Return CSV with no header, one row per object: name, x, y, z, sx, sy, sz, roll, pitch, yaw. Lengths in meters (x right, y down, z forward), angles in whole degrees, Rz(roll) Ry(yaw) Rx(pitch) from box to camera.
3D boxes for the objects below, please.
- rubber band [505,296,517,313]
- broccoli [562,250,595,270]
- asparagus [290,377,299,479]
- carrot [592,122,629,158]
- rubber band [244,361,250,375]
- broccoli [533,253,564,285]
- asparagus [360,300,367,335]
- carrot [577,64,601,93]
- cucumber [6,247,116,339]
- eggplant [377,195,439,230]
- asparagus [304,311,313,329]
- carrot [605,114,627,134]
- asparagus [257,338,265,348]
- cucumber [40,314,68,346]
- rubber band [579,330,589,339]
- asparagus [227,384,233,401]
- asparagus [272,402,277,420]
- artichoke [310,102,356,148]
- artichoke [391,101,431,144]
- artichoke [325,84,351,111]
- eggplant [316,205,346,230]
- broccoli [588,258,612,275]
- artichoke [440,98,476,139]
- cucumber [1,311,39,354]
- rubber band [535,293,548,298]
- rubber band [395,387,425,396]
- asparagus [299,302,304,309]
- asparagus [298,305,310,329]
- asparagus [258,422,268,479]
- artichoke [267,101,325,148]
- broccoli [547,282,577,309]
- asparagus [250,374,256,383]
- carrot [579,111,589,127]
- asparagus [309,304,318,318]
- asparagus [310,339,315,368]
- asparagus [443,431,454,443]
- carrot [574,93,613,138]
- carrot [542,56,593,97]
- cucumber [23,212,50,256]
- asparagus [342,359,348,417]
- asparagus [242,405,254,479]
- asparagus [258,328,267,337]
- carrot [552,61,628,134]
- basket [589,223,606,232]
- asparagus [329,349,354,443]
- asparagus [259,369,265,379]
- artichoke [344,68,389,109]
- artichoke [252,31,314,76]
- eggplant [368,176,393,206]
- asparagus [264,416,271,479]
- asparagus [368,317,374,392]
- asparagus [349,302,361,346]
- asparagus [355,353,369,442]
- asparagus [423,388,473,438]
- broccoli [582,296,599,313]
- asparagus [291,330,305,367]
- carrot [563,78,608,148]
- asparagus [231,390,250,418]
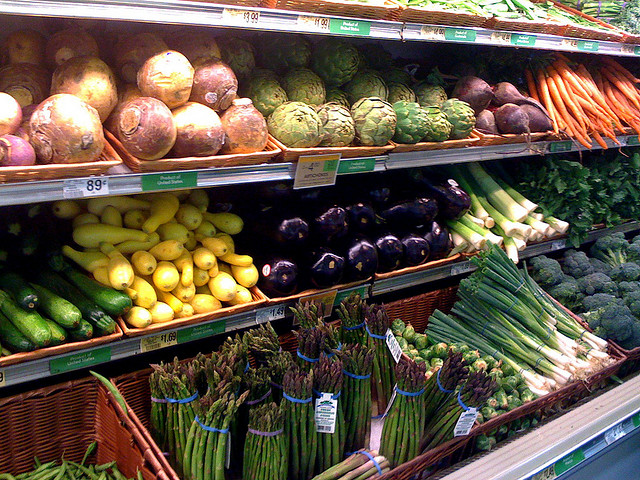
rubber band,1.191,0.396,2.769,0.020,0.075,0.080,37,49,7
broccoli,2.060,0.178,3.474,0.178,0.065,0.179,7,17,0
asparagus,-0.108,0.799,1.861,0.049,0.367,0.033,-2,9,-15
carrot,2.393,-0.835,3.647,0.070,0.405,0.042,-29,27,42
rubber band,-0.336,0.585,2.016,0.013,0.051,0.012,26,25,4
broccoli,1.716,0.233,3.300,0.216,0.079,0.215,-25,45,-5
asparagus,0.215,0.382,2.237,0.031,0.142,0.031,3,-4,-13
carrot,2.238,-1.343,3.698,0.062,0.293,0.052,-32,-2,-39
cucumber,-1.144,0.244,1.940,0.540,0.133,0.118,31,44,23
eggplant,0.548,-0.179,2.858,0.397,0.179,0.180,-11,23,-14
asparagus,-0.054,0.375,2.093,0.024,0.088,0.021,-9,23,7
carrot,2.376,-0.933,3.555,0.038,0.036,0.247,-26,55,2
asparagus,-0.268,0.469,2.022,0.014,0.049,0.016,-34,4,-4
cucumber,-1.125,0.386,1.881,0.146,0.052,0.068,19,35,34
rubber band,1.748,0.625,2.928,0.014,0.045,0.047,21,-9,-7
asparagus,-0.360,0.611,1.773,0.011,0.049,0.015,14,-31,-13
asparagus,-0.177,0.669,1.734,0.015,0.055,0.027,-3,15,-1
artichoke,0.061,-0.602,2.359,0.187,0.200,0.234,9,38,-9
artichoke,0.516,-0.669,2.510,0.218,0.238,0.187,1,16,14
artichoke,0.082,-0.829,2.549,0.102,0.101,0.182,2,35,-51
eggplant,0.067,-0.119,2.506,0.148,0.108,0.115,-39,-29,1
broccoli,2.201,0.211,3.517,0.167,0.102,0.052,39,-18,10
artichoke,0.861,-0.735,2.760,0.205,0.223,0.244,3,1,34
cucumber,-1.219,0.382,1.793,0.176,0.054,0.048,43,27,8
rubber band,1.475,0.370,2.957,0.083,0.013,0.017,-23,-2,-39
rubber band,0.399,0.672,1.961,0.118,0.034,0.032,-3,15,-1
asparagus,-0.089,0.317,2.147,0.012,0.044,0.013,-26,-6,-26
asparagus,-0.077,0.372,2.105,0.027,0.145,0.028,-26,14,-30
asparagus,-0.224,0.850,1.770,0.026,0.251,0.027,7,5,23
artichoke,-0.115,-0.586,2.290,0.222,0.210,0.266,-9,18,10
broccoli,1.793,0.404,3.233,0.193,0.161,0.073,25,-5,43
asparagus,-0.286,0.592,1.894,0.021,0.034,0.009,0,-10,0
carrot,2.005,-0.937,3.373,0.042,0.152,0.031,4,-22,-31
asparagus,-0.025,0.339,2.128,0.018,0.086,0.022,6,34,43
asparagus,-0.034,0.507,1.972,0.027,0.136,0.023,-5,15,-6
asparagus,0.613,0.935,2.109,0.003,0.063,0.017,-6,49,-52
carrot,2.106,-0.957,3.426,0.048,0.467,0.107,-39,-12,-16
carrot,1.942,-1.284,3.503,0.091,0.089,0.625,27,23,-54
cucumber,-1.343,-0.032,2.080,0.055,0.054,0.203,30,46,-11
asparagus,0.116,0.677,2.005,0.027,0.240,0.026,5,4,7
asparagus,-0.293,0.833,1.792,0.046,0.342,0.039,7,13,13
asparagus,-0.274,0.427,2.066,0.016,0.060,0.018,-39,-21,-5
carrot,2.142,-1.114,3.520,0.066,1.002,0.109,-33,-16,-26
basket,2.339,-0.104,3.718,0.156,0.050,0.106,1,0,-24
asparagus,0.112,0.724,2.050,0.073,0.449,0.035,-2,16,-5
asparagus,-0.249,0.575,1.902,0.024,0.034,0.022,-5,15,-8
artichoke,0.312,-0.879,2.678,0.194,0.226,0.247,26,10,18
artichoke,-0.201,-1.037,2.471,0.337,0.185,0.197,4,23,21
eggplant,0.366,-0.318,2.818,0.149,0.154,0.197,-9,16,4
asparagus,-0.202,0.818,1.756,0.031,0.245,0.025,-3,6,-20
asparagus,0.255,0.574,2.238,0.037,0.351,0.036,1,0,-22
asparagus,0.191,0.429,2.242,0.029,0.245,0.035,-20,24,-21
asparagus,0.193,0.724,2.013,0.068,0.458,0.019,-2,15,3
asparagus,0.611,0.817,2.099,0.051,0.352,0.051,37,9,-6
broccoli,1.894,0.450,3.093,0.043,0.088,0.088,22,-44,-34
asparagus,-0.093,0.508,2.033,0.049,0.176,0.040,16,16,26
carrot,2.030,-0.960,3.405,0.103,0.647,0.084,-20,-12,-38
asparagus,-0.317,0.642,1.750,0.041,0.066,0.097,0,15,11
